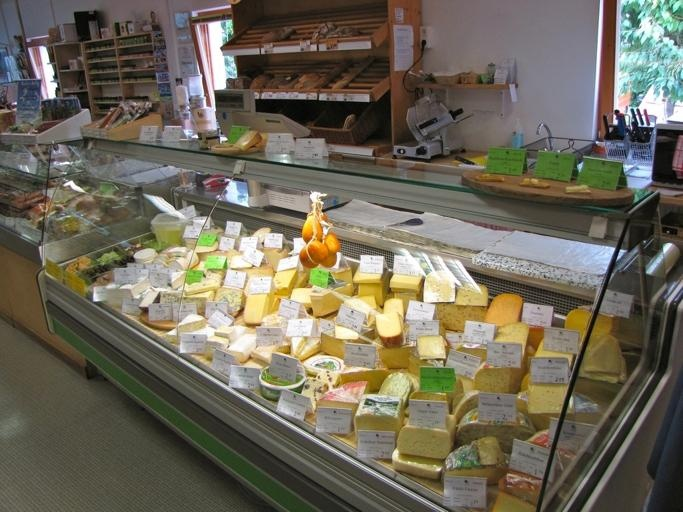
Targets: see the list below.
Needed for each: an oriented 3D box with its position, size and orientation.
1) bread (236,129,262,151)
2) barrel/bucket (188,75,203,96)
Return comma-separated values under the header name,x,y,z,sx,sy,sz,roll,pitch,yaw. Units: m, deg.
name,x,y,z,sx,sy,sz,roll,pitch,yaw
bread,-0.451,-0.566,2.238,0.093,0.044,0.134,11,34,19
barrel/bucket,-1.938,-2.243,6.057,0.195,0.255,0.290,-9,20,-14
